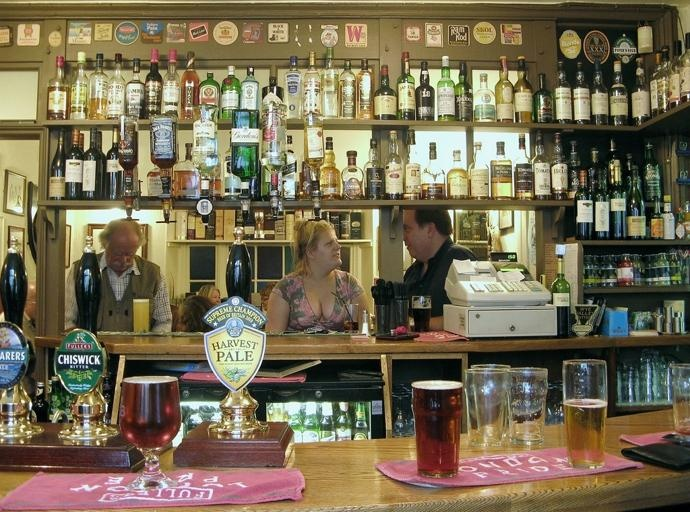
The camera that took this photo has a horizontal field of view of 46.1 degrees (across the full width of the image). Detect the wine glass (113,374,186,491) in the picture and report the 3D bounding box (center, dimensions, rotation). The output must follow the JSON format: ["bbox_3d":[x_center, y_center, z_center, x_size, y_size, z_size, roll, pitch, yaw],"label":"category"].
[{"bbox_3d":[-0.614,0.538,2.539,0.178,0.328,0.208,-2,8,-16],"label":"wine glass"}]

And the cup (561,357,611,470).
[{"bbox_3d":[0.771,0.499,2.610,0.141,0.312,0.206,3,8,17],"label":"cup"}]

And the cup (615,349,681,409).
[{"bbox_3d":[1.811,0.731,4.832,0.351,0.430,0.319,-1,-7,0],"label":"cup"}]

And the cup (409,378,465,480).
[{"bbox_3d":[0.288,0.531,2.541,0.151,0.288,0.145,1,8,0],"label":"cup"}]

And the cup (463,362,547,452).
[{"bbox_3d":[0.540,0.511,2.724,0.294,0.276,0.223,0,-2,-6],"label":"cup"}]
